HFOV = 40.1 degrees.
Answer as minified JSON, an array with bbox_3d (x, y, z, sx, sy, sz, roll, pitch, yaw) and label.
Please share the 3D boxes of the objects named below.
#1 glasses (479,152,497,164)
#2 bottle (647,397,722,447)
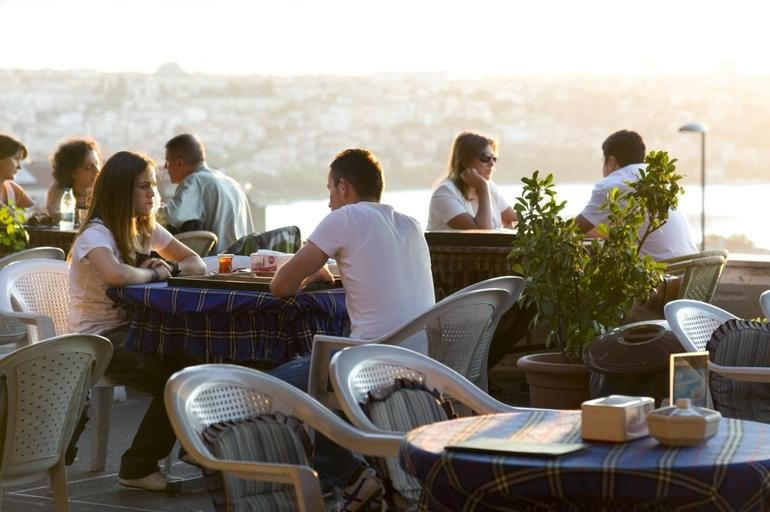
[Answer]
[{"bbox_3d":[0.840,-0.776,8.473,0.069,0.079,0.247,6,4,26],"label":"glasses"},{"bbox_3d":[1.304,0.725,4.605,0.323,0.198,0.117,5,4,3],"label":"bottle"}]
